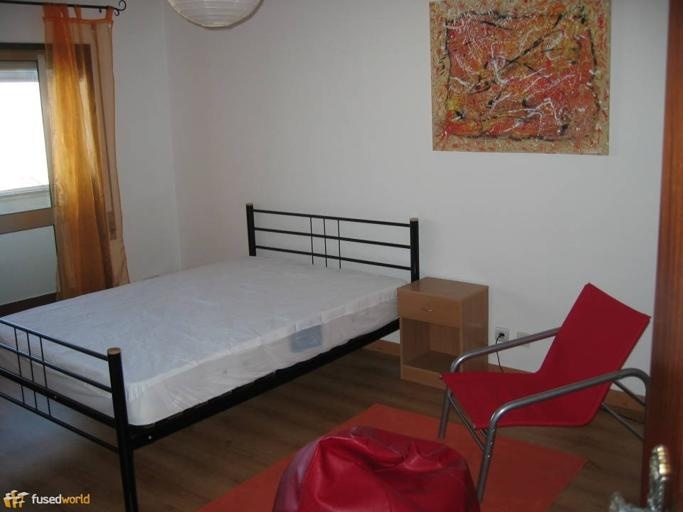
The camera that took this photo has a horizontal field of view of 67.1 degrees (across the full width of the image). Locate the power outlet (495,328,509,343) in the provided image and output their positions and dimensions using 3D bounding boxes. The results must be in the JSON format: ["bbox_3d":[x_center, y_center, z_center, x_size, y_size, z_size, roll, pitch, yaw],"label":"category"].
[{"bbox_3d":[1.128,0.554,3.632,0.026,0.102,0.108,-1,6,-31],"label":"power outlet"}]

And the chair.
[{"bbox_3d":[1.053,0.596,2.723,1.265,0.917,0.730,-7,14,-18],"label":"chair"}]
